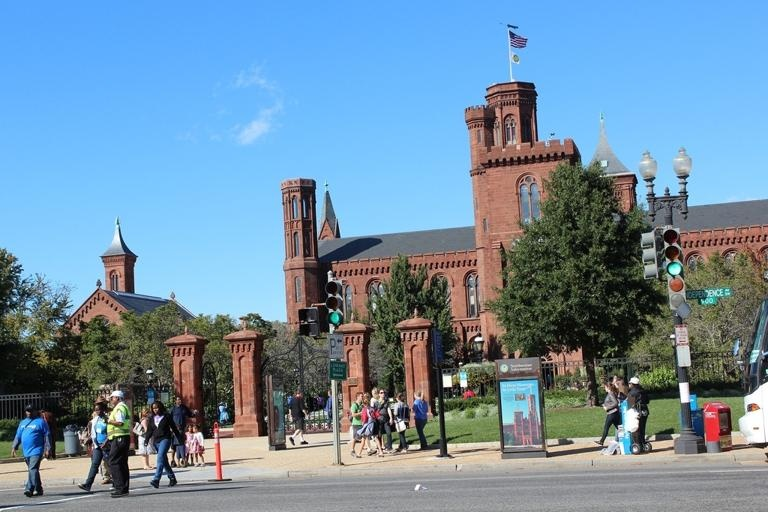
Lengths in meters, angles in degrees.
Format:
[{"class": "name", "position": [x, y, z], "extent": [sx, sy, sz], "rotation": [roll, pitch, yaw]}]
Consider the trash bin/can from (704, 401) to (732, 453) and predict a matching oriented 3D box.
[{"class": "trash bin/can", "position": [11.394, 5.725, 38.109], "extent": [0.925, 1.704, 0.786], "rotation": [-6, -9, 6]}]

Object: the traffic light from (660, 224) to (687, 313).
[{"class": "traffic light", "position": [9.947, 0.413, 38.305], "extent": [0.641, 3.152, 0.867], "rotation": [-7, -9, 14]}]

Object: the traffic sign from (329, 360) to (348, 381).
[{"class": "traffic sign", "position": [-1.668, 3.972, 39.739], "extent": [0.120, 0.676, 0.918], "rotation": [-3, -7, 31]}]

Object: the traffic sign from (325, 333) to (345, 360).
[{"class": "traffic sign", "position": [-1.742, 3.100, 39.516], "extent": [0.463, 0.919, 1.009], "rotation": [-9, -11, 26]}]

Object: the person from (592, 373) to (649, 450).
[{"class": "person", "position": [8.392, 5.561, 40.919], "extent": [1.156, 2.659, 0.910], "rotation": [1, -6, -10]}]
